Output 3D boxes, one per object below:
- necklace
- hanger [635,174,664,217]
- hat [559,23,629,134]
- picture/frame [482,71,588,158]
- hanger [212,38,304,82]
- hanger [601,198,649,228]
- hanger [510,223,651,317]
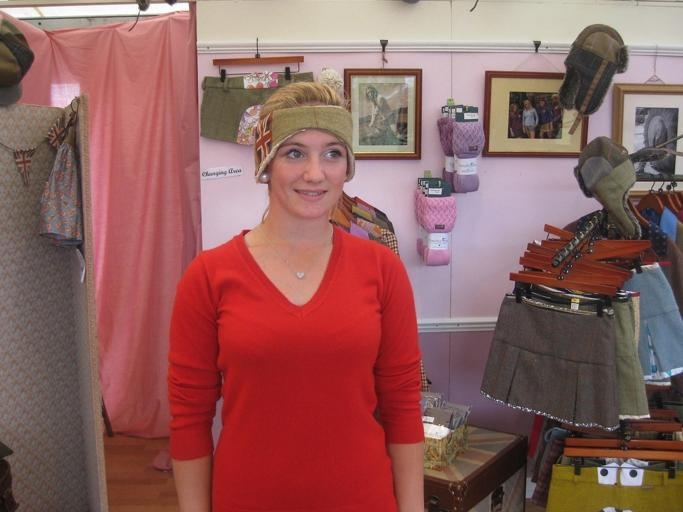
[{"bbox_3d":[-0.148,-0.013,1.872,0.230,0.317,0.178,1,19,0],"label":"necklace"},{"bbox_3d":[1.786,-0.349,3.454,0.087,0.215,0.228,-10,18,-29],"label":"hanger"},{"bbox_3d":[1.374,-0.986,3.352,0.350,0.515,0.245,25,27,13],"label":"hat"},{"bbox_3d":[1.117,-0.843,3.510,0.551,0.489,0.027,-1,13,-3],"label":"picture/frame"},{"bbox_3d":[-0.491,-1.130,3.462,0.523,0.237,0.066,-4,9,-7],"label":"hanger"},{"bbox_3d":[1.437,-0.211,3.025,0.049,0.140,0.105,-32,0,19],"label":"hanger"},{"bbox_3d":[1.167,0.051,2.889,0.443,0.113,0.461,15,57,31],"label":"hanger"}]
